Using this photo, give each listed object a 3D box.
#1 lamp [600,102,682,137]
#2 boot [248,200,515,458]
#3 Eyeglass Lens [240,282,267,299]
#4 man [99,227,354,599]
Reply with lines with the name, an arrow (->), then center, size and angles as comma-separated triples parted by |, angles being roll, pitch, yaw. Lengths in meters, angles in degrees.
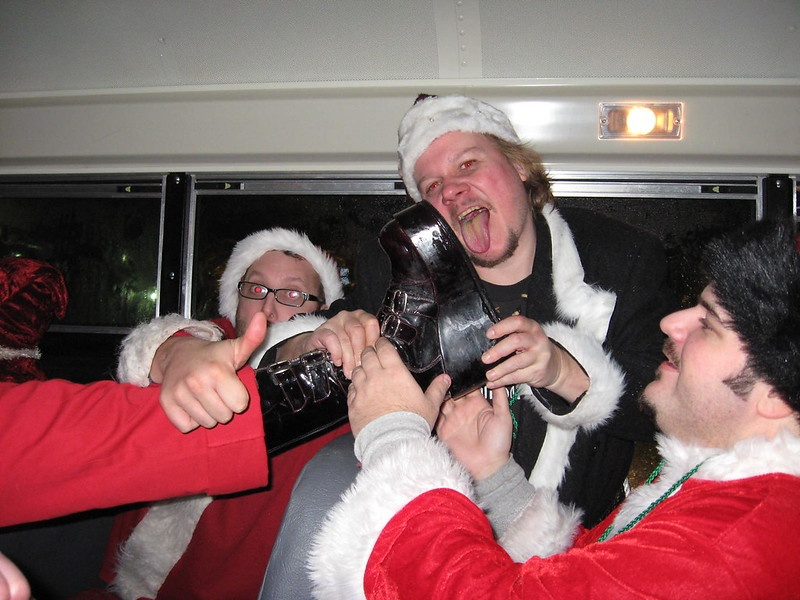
lamp -> 1.093, -0.818, 2.907 | 0.337, 0.156, 0.120 | 3, 8, 7
boot -> -0.151, 0.081, 2.135 | 1.021, 0.693, 0.303 | -16, 27, -5
Eyeglass Lens -> -0.712, -0.041, 3.062 | 0.071, 0.057, 0.173 | -16, 19, -43
man -> -0.762, 0.297, 2.516 | 0.898, 1.602, 0.695 | -20, -19, 24
